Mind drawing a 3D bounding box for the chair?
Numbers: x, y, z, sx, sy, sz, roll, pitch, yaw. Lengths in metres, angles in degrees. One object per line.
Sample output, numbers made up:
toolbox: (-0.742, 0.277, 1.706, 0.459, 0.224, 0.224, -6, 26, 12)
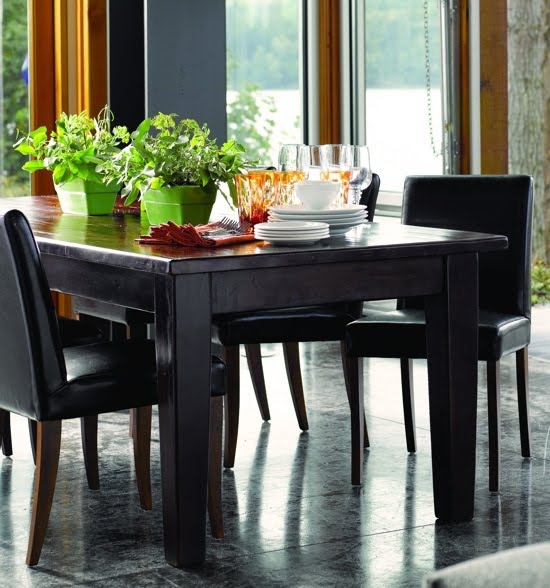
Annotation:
chair: (-0.043, 0.182, 1.825, 1.130, 0.783, 0.673, -3, 6, -19)

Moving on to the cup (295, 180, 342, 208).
cup: (0.101, -0.229, 1.825, 0.068, 0.056, 0.076, -1, 1, -11)

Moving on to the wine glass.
wine glass: (0.139, -0.334, 1.958, 0.154, 0.156, 0.183, 0, 0, -9)
